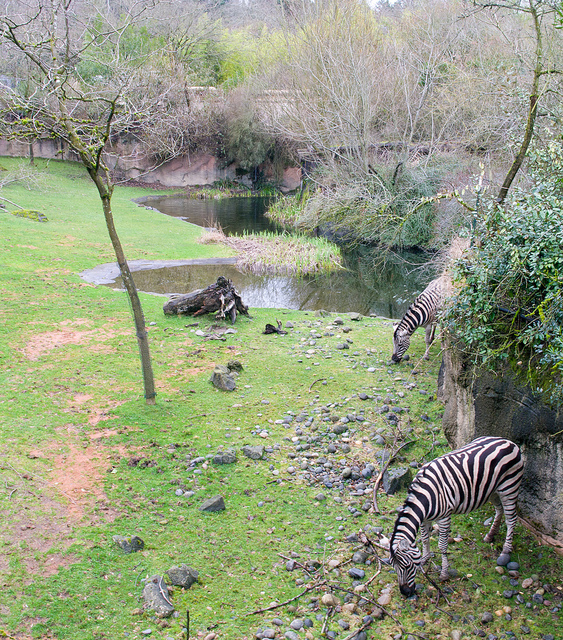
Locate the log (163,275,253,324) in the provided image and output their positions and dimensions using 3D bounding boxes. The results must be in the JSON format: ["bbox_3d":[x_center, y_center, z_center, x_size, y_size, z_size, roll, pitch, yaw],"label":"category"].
[{"bbox_3d":[-1.240,-0.342,11.912,1.099,0.586,0.823,0,10,-7],"label":"log"}]

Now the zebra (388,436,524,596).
[{"bbox_3d":[1.409,1.602,5.847,1.149,1.166,0.393,-4,14,-20],"label":"zebra"}]
